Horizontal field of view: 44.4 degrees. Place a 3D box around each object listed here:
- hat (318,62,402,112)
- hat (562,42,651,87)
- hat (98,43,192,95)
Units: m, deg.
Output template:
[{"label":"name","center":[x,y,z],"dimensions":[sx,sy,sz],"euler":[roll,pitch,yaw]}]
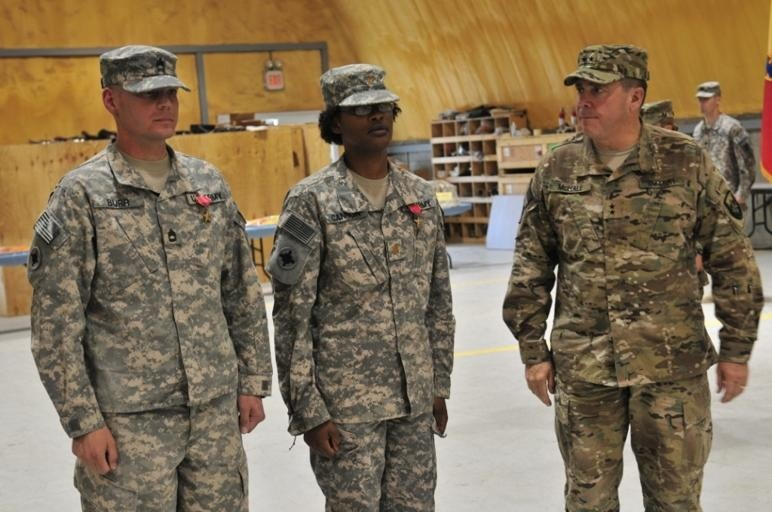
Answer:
[{"label":"hat","center":[-0.142,-0.835,4.609],"dimensions":[0.240,0.127,0.312],"euler":[-6,10,-27]},{"label":"hat","center":[1.100,-0.956,4.711],"dimensions":[0.345,0.120,0.231],"euler":[-8,13,-29]},{"label":"hat","center":[-1.152,-0.876,4.433],"dimensions":[0.332,0.147,0.255],"euler":[5,11,32]}]
